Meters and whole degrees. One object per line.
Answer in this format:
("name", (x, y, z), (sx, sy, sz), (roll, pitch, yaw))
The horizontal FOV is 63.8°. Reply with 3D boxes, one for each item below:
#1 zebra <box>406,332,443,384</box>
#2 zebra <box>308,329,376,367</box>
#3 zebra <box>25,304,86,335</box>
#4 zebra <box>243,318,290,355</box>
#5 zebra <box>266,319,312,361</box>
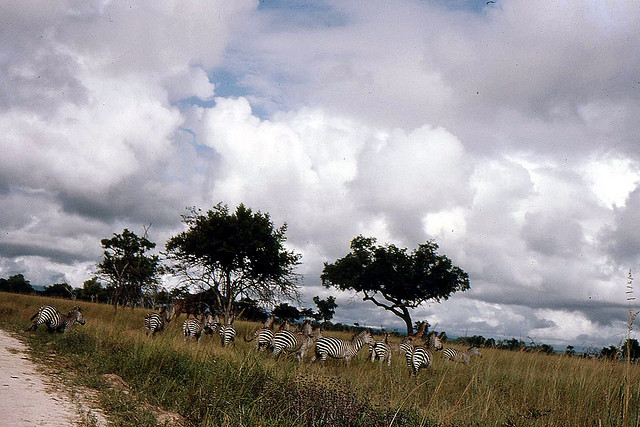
("zebra", (5.089, 7.004, 25.221), (0.789, 2.292, 2.836), (-3, -6, 43))
("zebra", (1.061, 6.603, 25.483), (3.158, 2.458, 1.180), (27, -22, -37))
("zebra", (-12.221, 4.901, 24.251), (0.848, 1.391, 2.388), (9, -18, 11))
("zebra", (-2.861, 6.355, 26.917), (0.755, 1.803, 2.502), (-6, -9, 34))
("zebra", (-1.497, 6.512, 25.796), (3.003, 2.593, 0.986), (5, -22, -26))
